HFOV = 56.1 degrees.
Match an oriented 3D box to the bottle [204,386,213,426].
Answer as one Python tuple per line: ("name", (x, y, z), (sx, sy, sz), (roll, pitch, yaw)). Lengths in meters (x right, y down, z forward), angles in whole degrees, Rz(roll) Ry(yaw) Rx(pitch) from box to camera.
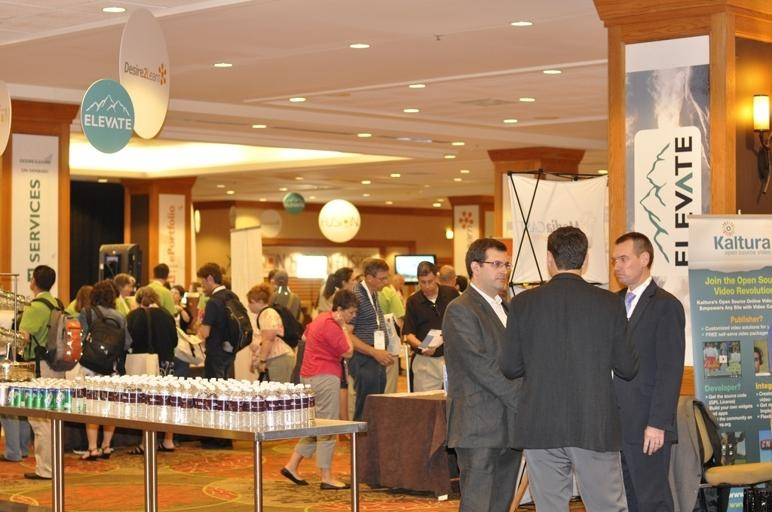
("bottle", (-1.143, 0.975, 4.699), (0.034, 0.208, 0.081), (5, -8, -44))

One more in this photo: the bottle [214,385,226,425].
("bottle", (-1.061, 0.960, 4.641), (0.047, 0.235, 0.122), (2, -6, -26))

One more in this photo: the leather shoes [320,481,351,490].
("leather shoes", (-0.480, 2.200, 7.049), (0.305, 0.108, 0.101), (-1, -4, -4))

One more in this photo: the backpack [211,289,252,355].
("backpack", (-1.767, 0.741, 8.368), (0.434, 0.761, 0.271), (0, -6, -13))

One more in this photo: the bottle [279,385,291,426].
("bottle", (-0.647, 0.942, 4.568), (0.056, 0.226, 0.051), (3, -7, -31))

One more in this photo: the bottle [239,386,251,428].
("bottle", (-0.889, 0.946, 4.569), (0.087, 0.247, 0.154), (1, -6, -13))

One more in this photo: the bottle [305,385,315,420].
("bottle", (-0.499, 0.948, 4.731), (0.053, 0.215, 0.182), (-1, -6, -2))

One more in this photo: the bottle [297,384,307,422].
("bottle", (-0.523, 0.943, 4.642), (0.036, 0.221, 0.089), (-3, -6, 19))

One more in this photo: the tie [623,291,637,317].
("tie", (1.631, 0.323, 4.820), (0.041, 0.156, 0.096), (11, -3, -30))

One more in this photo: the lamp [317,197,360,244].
("lamp", (-0.965, -0.755, 14.976), (0.767, 0.821, 0.445), (0, -6, -7))

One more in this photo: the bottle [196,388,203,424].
("bottle", (-1.219, 0.982, 4.740), (0.024, 0.199, 0.082), (4, -8, -41))

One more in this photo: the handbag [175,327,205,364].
("handbag", (-2.348, 1.081, 8.671), (0.224, 0.405, 0.414), (-19, -21, 29))

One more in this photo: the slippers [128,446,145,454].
("slippers", (-2.969, 2.304, 8.657), (0.264, 0.080, 0.099), (2, 1, 35))

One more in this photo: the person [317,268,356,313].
("person", (-0.551, 0.505, 8.955), (0.418, 0.897, 0.315), (-7, 39, -3))

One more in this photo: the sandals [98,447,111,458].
("sandals", (-3.266, 2.268, 8.439), (0.063, 0.064, 0.171), (0, 2, -10))

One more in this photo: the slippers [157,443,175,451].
("slippers", (-2.621, 2.272, 8.641), (0.180, 0.047, 0.071), (7, -1, 8))

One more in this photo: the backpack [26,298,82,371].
("backpack", (-3.478, 0.824, 7.714), (0.749, 0.788, 0.387), (-5, -7, 34))

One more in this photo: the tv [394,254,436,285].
("tv", (0.606, 0.291, 16.360), (0.989, 0.677, 0.105), (1, -3, 2))

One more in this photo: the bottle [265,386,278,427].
("bottle", (-0.714, 0.959, 4.515), (0.065, 0.199, 0.028), (0, -6, -11))

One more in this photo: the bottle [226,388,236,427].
("bottle", (-0.976, 0.962, 4.574), (0.026, 0.225, 0.104), (4, -8, -40))
